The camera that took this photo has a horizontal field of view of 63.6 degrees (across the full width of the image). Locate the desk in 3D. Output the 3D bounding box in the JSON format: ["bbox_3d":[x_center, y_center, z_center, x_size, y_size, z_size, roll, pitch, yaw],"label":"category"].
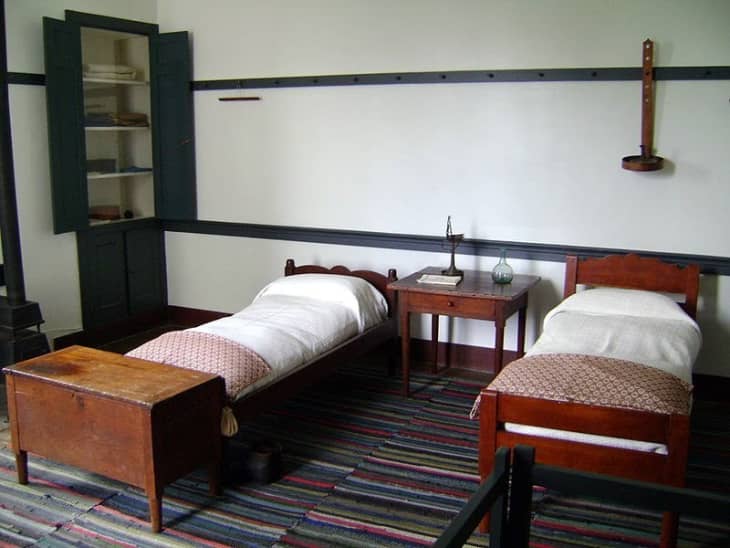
[{"bbox_3d":[-1.377,0.877,3.331,1.136,0.735,0.535,5,15,22],"label":"desk"}]

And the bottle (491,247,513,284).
[{"bbox_3d":[1.038,-0.053,4.434,0.156,0.241,0.156,-1,10,0],"label":"bottle"}]

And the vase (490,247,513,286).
[{"bbox_3d":[1.039,-0.055,4.437,0.157,0.248,0.160,0,11,11],"label":"vase"}]

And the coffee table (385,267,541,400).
[{"bbox_3d":[0.774,0.484,4.558,0.945,0.817,0.753,5,8,31],"label":"coffee table"}]

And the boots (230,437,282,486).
[{"bbox_3d":[-0.646,1.083,3.523,0.295,0.205,0.213,6,6,36],"label":"boots"}]

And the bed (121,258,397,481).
[{"bbox_3d":[-0.588,0.475,4.259,1.143,0.797,1.833,9,20,28],"label":"bed"}]

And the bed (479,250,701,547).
[{"bbox_3d":[1.319,0.676,3.760,1.196,1.302,2.002,6,20,27],"label":"bed"}]

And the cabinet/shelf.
[{"bbox_3d":[-2.337,-0.918,5.695,1.396,2.936,0.853,-1,1,21],"label":"cabinet/shelf"}]
